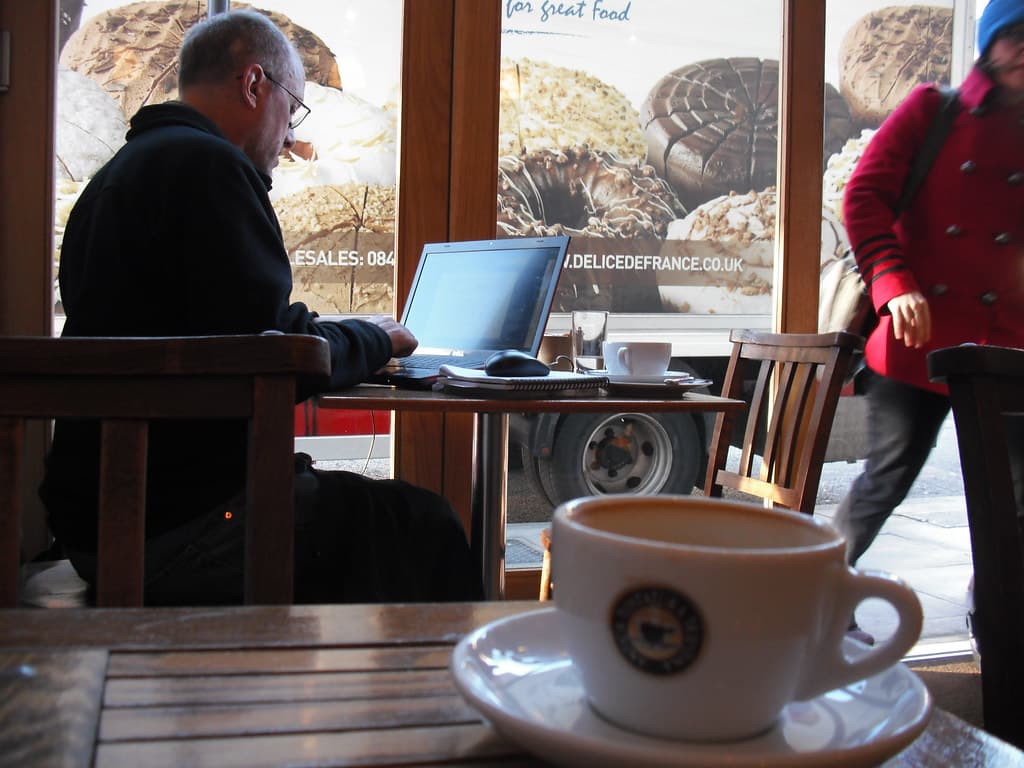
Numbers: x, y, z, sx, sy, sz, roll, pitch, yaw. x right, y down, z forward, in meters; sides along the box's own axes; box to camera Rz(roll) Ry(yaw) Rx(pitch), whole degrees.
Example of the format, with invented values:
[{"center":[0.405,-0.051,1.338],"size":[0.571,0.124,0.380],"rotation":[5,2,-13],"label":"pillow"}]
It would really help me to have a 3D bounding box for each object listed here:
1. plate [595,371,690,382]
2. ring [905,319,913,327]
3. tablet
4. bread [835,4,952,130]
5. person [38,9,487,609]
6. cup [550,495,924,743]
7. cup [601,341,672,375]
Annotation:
[{"center":[0.259,-0.008,1.680],"size":[0.222,0.013,0.065],"rotation":[-1,8,-28],"label":"plate"},{"center":[0.892,-0.134,1.949],"size":[0.015,0.017,0.009],"rotation":[7,8,30],"label":"ring"},{"center":[-0.141,-0.192,1.886],"size":[0.410,0.273,0.373],"rotation":[3,4,32],"label":"tablet"},{"center":[1.214,-1.028,2.830],"size":[0.363,0.404,0.124],"rotation":[-18,2,-4],"label":"bread"},{"center":[-0.588,-0.133,2.267],"size":[1.080,1.806,0.805],"rotation":[-1,3,-36],"label":"person"},{"center":[0.111,0.079,0.462],"size":[0.163,0.104,0.131],"rotation":[3,0,12],"label":"cup"},{"center":[0.251,-0.049,1.752],"size":[0.130,0.068,0.161],"rotation":[4,7,5],"label":"cup"}]
